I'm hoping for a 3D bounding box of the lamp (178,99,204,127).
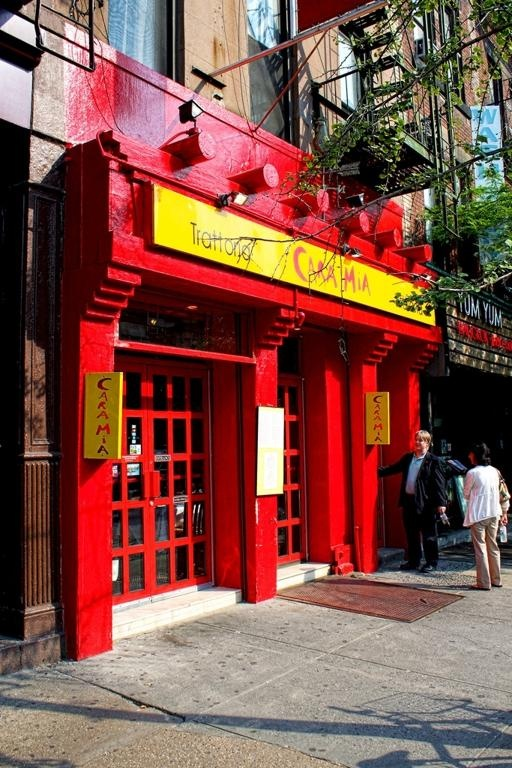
[{"bbox_3d":[-0.559,-2.336,6.557,0.203,0.153,0.203,-1,-3,42],"label":"lamp"}]

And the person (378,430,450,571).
[{"bbox_3d":[2.038,1.437,9.257,0.415,1.688,0.927,2,-2,-26],"label":"person"}]

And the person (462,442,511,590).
[{"bbox_3d":[2.578,1.455,8.525,0.456,1.545,0.976,0,-2,18],"label":"person"}]

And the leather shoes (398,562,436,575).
[{"bbox_3d":[1.967,2.243,9.229,0.447,0.211,0.158,-12,-9,28],"label":"leather shoes"}]

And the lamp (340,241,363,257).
[{"bbox_3d":[1.066,-1.509,8.664,0.205,0.079,0.156,23,-14,-32],"label":"lamp"}]

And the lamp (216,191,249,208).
[{"bbox_3d":[-0.214,-1.626,6.823,0.127,0.174,0.352,0,-3,34],"label":"lamp"}]
